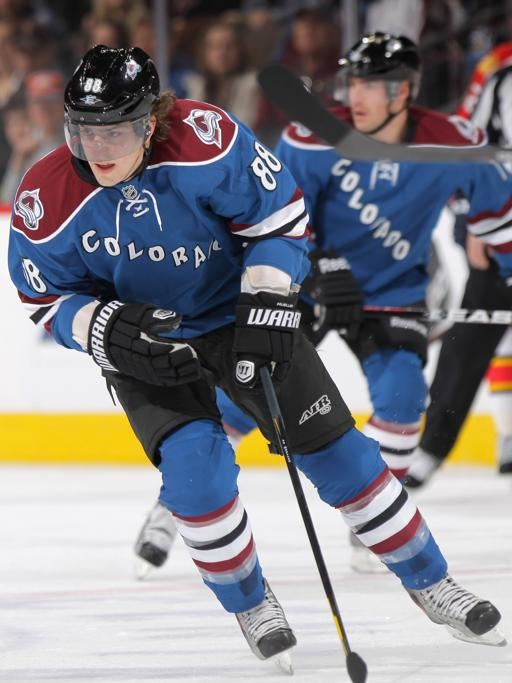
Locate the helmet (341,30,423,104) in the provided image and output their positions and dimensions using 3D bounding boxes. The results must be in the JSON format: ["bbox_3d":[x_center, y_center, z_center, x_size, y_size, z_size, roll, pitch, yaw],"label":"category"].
[{"bbox_3d":[0.390,-0.859,2.431,0.251,0.196,0.216,-26,36,-20],"label":"helmet"}]

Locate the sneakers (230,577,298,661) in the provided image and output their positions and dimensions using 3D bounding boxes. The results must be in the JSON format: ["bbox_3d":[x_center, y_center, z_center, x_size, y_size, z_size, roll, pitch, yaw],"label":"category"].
[{"bbox_3d":[0.005,0.538,1.556,0.062,0.079,0.196,-34,13,-3],"label":"sneakers"}]

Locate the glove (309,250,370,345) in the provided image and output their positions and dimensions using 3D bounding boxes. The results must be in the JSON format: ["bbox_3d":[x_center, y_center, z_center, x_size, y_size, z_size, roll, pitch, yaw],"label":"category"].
[{"bbox_3d":[0.238,-0.146,2.472,0.226,0.245,0.107,-6,5,-18],"label":"glove"}]

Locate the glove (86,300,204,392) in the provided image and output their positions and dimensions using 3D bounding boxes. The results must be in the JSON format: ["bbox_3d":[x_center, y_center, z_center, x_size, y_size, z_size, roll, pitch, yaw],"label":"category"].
[{"bbox_3d":[-0.215,0.004,1.535,0.127,0.146,0.263,-31,40,-32],"label":"glove"}]

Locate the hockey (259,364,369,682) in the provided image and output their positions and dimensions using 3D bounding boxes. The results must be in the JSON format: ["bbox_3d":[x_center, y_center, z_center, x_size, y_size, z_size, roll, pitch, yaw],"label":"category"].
[{"bbox_3d":[0.134,0.455,1.871,0.070,0.528,0.575,-21,-10,-6],"label":"hockey"}]

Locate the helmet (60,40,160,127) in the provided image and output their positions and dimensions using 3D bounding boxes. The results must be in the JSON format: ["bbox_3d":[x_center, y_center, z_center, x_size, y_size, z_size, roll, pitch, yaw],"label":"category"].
[{"bbox_3d":[-0.259,-0.487,1.488,0.158,0.102,0.199,8,27,18],"label":"helmet"}]
